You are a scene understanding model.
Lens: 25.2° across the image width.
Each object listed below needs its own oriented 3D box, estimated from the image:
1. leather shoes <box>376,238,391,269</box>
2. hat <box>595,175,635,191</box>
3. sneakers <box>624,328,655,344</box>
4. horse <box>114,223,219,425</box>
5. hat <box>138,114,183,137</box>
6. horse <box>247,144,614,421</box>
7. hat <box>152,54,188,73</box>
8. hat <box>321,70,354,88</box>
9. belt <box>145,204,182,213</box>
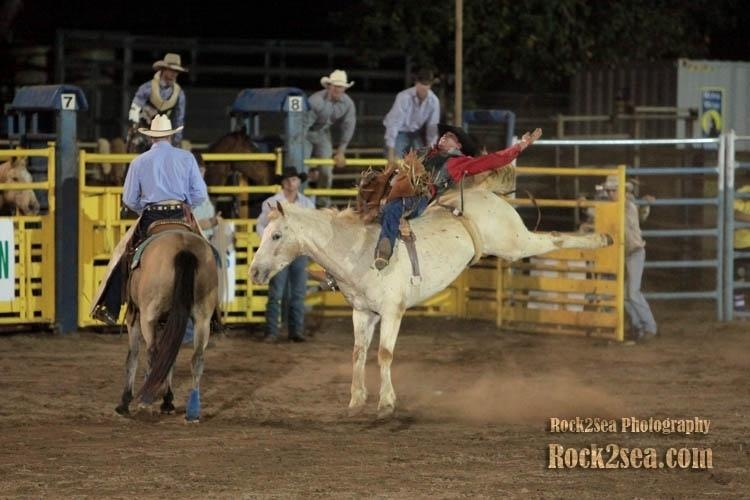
[{"bbox_3d":[0.123,0.051,26.249,0.260,0.438,0.173,13,-8,7],"label":"leather shoes"},{"bbox_3d":[4.242,-1.144,29.361,0.455,0.147,0.347,-2,0,-42],"label":"hat"},{"bbox_3d":[4.553,1.508,29.361,0.634,0.235,0.229,9,-9,-34],"label":"sneakers"},{"bbox_3d":[-3.221,1.097,26.277,1.492,3.057,0.912,0,3,-6],"label":"horse"},{"bbox_3d":[-3.669,-2.102,28.380,0.629,0.264,0.702,-2,7,-6],"label":"hat"},{"bbox_3d":[0.467,0.578,26.910,4.969,3.919,1.089,-1,3,-27],"label":"horse"},{"bbox_3d":[-3.787,-3.424,30.777,0.521,0.342,0.832,0,3,-6],"label":"hat"},{"bbox_3d":[-0.732,-3.119,30.681,0.434,0.332,0.739,0,3,-7],"label":"hat"},{"bbox_3d":[-3.335,-0.677,26.536,0.561,0.138,0.077,0,3,-9],"label":"belt"}]
